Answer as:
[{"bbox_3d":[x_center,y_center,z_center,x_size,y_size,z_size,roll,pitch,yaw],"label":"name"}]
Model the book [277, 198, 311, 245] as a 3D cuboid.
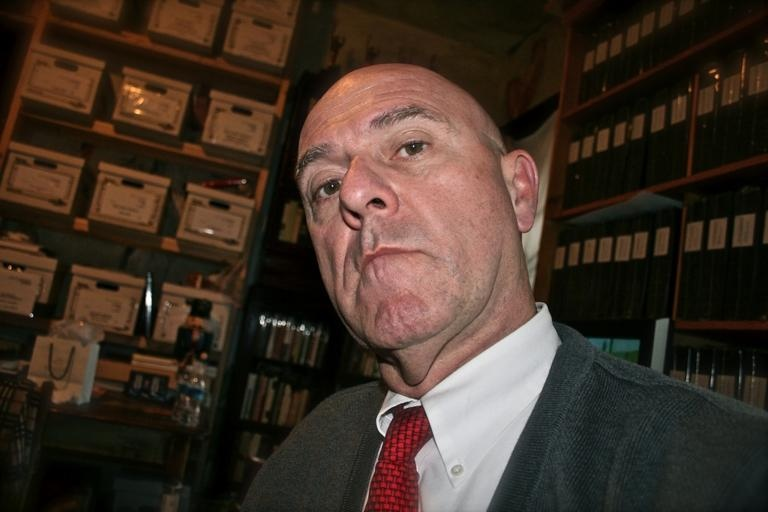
[{"bbox_3d":[-0.600,-0.206,4.672,0.220,0.323,0.304,4,-5,-9],"label":"book"}]
